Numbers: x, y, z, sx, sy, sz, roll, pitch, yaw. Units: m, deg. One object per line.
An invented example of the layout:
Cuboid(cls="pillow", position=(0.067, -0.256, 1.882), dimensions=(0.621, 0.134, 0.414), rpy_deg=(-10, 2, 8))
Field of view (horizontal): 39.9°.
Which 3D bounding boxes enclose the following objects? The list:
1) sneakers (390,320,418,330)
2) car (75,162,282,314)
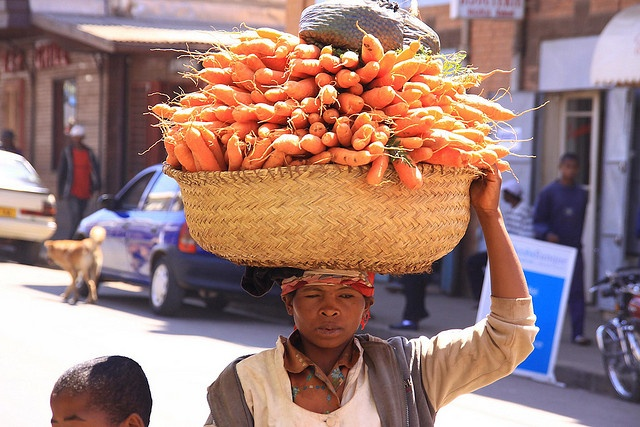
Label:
Cuboid(cls="sneakers", position=(1.014, 1.321, 10.756), dimensions=(0.356, 0.151, 0.125), rpy_deg=(3, -3, 3))
Cuboid(cls="car", position=(-0.948, 0.135, 5.515), dimensions=(0.969, 0.903, 1.904), rpy_deg=(0, 4, -19))
